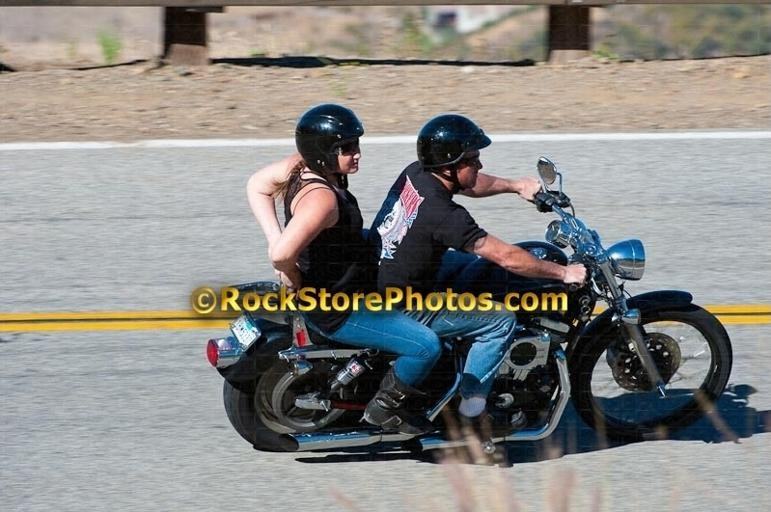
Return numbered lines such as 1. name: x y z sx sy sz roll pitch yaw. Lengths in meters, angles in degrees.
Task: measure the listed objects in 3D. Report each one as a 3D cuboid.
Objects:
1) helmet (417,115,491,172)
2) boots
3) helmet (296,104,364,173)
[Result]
1. helmet: 0.528 -0.818 8.426 0.590 0.283 0.384 2 22 29
2. boots: 0.187 1.056 8.512 0.529 0.358 0.239 20 0 15
3. helmet: -0.405 -0.806 8.284 0.694 0.390 0.445 -1 7 3
